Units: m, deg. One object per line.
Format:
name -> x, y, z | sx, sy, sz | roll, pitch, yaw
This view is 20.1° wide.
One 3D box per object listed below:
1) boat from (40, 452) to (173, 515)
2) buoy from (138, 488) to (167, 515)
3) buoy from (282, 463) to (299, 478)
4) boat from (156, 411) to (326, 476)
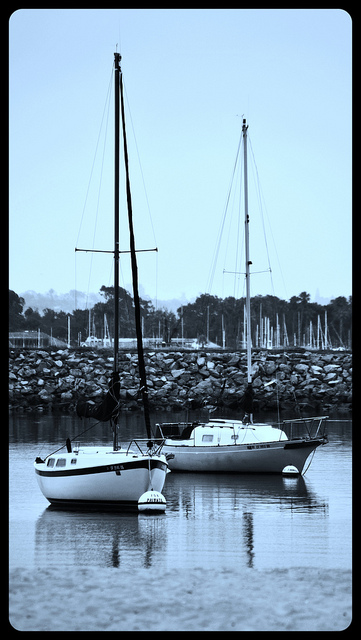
boat -> -1.627, 3.316, 21.045 | 2.644, 1.181, 1.020 | -6, -8, 31
buoy -> -0.608, 3.709, 20.731 | 0.422, 0.651, 0.439 | -5, -7, 41
buoy -> 2.901, 4.003, 26.925 | 0.338, 0.522, 0.235 | 1, -6, 2
boat -> 1.790, 3.610, 29.774 | 4.067, 1.843, 1.362 | -8, -4, 35
